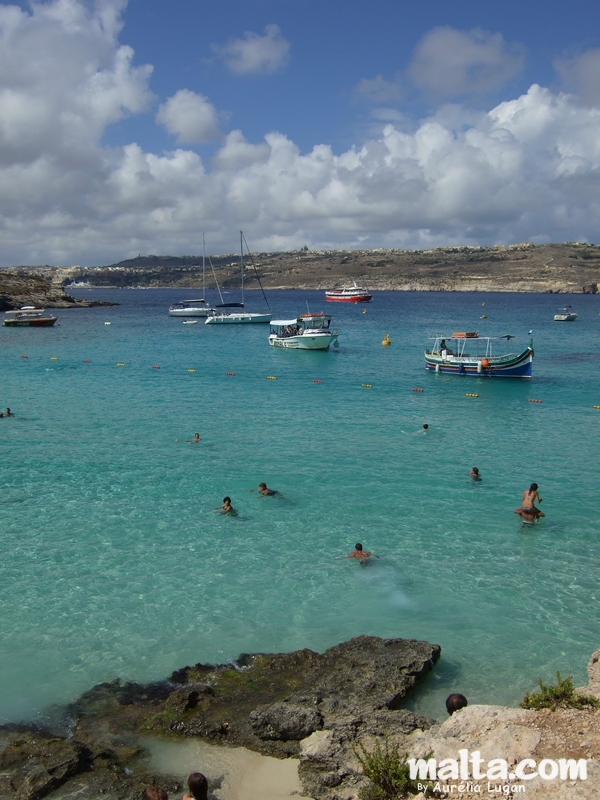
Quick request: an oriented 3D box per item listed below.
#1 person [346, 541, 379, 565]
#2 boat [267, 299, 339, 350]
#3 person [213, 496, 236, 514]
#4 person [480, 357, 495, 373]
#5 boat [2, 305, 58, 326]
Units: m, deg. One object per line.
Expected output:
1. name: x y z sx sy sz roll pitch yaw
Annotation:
1. person: 2.013 5.022 22.635 0.775 0.564 1.266 25 4 24
2. boat: 0.180 -7.697 82.055 4.020 4.442 10.555 -4 4 -36
3. person: -2.893 4.028 26.942 0.273 0.725 0.459 22 18 41
4. person: 15.052 -2.724 56.956 1.471 1.261 0.619 4 15 19
5. boat: -43.315 -13.078 113.217 6.729 2.371 9.299 -4 13 -16
